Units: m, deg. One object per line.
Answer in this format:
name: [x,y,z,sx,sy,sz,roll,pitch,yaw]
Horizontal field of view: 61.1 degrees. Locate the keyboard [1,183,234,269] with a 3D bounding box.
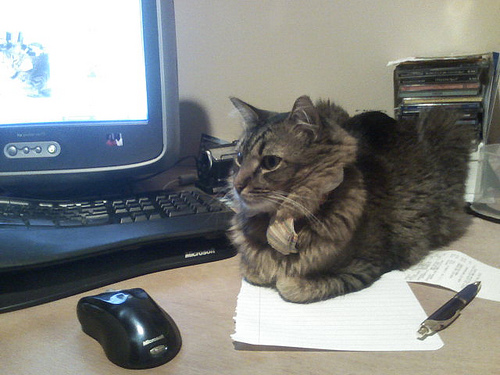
keyboard: [-0.262,0.048,0.854,0.440,0.082,0.262,-11,27,-14]

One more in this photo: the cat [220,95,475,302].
cat: [0.232,-0.039,0.925,0.658,0.323,0.394,-18,17,-34]

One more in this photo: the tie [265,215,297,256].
tie: [0.054,0.076,0.703,0.050,0.054,0.037,2,27,12]
